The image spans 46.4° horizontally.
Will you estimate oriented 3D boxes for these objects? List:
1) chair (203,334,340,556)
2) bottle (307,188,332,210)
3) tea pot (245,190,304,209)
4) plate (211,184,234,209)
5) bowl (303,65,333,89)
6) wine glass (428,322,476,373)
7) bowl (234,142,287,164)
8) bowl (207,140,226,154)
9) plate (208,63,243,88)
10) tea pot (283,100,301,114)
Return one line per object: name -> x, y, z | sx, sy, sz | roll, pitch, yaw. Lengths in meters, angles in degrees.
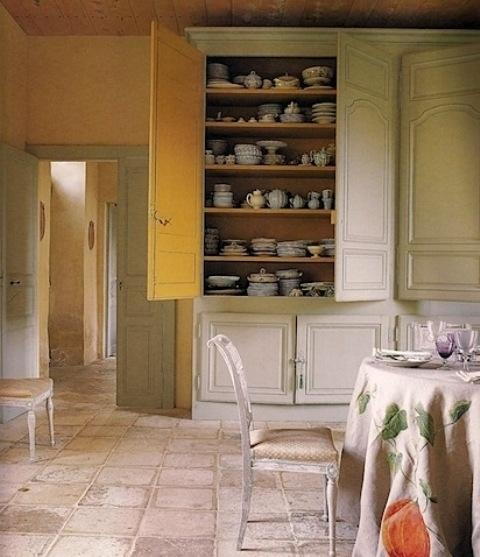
chair -> 0.138, 0.677, 2.766 | 0.870, 1.150, 0.748 | -2, -2, 4
bottle -> 0.591, -0.577, 4.027 | 0.192, 0.157, 0.147 | 0, -1, 30
tea pot -> 0.223, -0.552, 4.030 | 0.481, 0.167, 0.157 | 0, 6, -8
plate -> -0.126, -0.587, 4.076 | 0.182, 0.148, 0.170 | 0, -5, 2
bowl -> 0.546, -1.425, 4.007 | 0.214, 0.117, 0.199 | 2, 2, 0
wine glass -> 0.887, 0.283, 2.318 | 0.207, 0.202, 0.196 | 0, -3, -6
bowl -> 0.129, -0.890, 4.017 | 0.302, 0.096, 0.218 | 0, 2, 2
bowl -> -0.170, -0.946, 4.082 | 0.124, 0.081, 0.120 | 0, 2, 0
plate -> -0.109, -1.436, 4.010 | 0.241, 0.088, 0.225 | 2, 2, 3
tea pot -> 0.371, -1.234, 4.048 | 0.151, 0.114, 0.096 | 8, 16, 20
